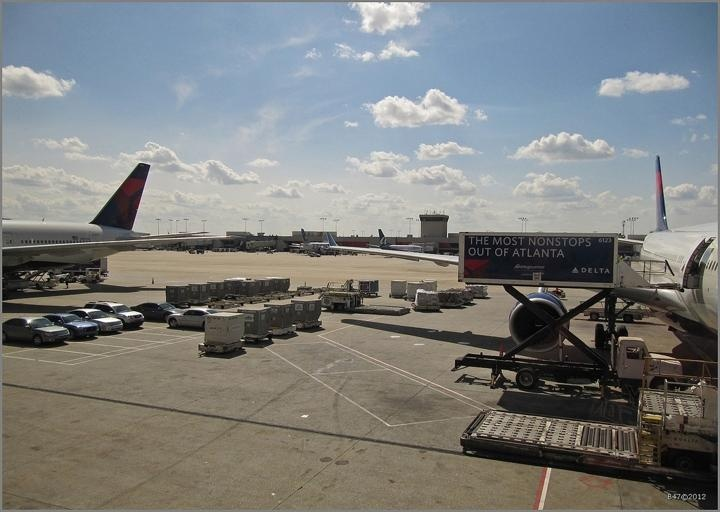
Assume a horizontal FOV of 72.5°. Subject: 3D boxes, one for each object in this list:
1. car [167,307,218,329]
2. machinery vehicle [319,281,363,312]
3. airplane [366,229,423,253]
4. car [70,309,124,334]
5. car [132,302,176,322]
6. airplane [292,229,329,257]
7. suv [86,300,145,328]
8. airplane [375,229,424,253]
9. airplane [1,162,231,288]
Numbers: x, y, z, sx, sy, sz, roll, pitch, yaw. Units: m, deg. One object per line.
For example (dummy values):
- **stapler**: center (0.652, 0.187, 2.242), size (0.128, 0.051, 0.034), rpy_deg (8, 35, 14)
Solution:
- **car**: center (-13.578, 5.030, 39.439), size (3.686, 1.520, 1.544), rpy_deg (3, 6, 19)
- **machinery vehicle**: center (-2.100, 4.146, 49.505), size (4.097, 2.682, 2.863), rpy_deg (2, 0, 10)
- **airplane**: center (11.695, -3.889, 153.911), size (12.904, 5.655, 13.183), rpy_deg (3, 11, 17)
- **car**: center (-20.248, 5.068, 37.707), size (4.281, 1.316, 1.763), rpy_deg (4, 5, 25)
- **car**: center (-17.834, 4.847, 42.317), size (4.202, 1.253, 1.695), rpy_deg (-1, 2, 16)
- **airplane**: center (-18.552, -4.417, 186.358), size (11.940, 6.012, 13.761), rpy_deg (6, 9, 45)
- **suv**: center (-19.540, 4.750, 39.929), size (4.879, 1.884, 2.169), rpy_deg (2, 2, 22)
- **airplane**: center (12.613, -3.749, 150.960), size (12.201, 5.807, 12.826), rpy_deg (2, 13, 11)
- **airplane**: center (-29.788, -2.139, 57.169), size (24.494, 7.992, 24.386), rpy_deg (3, 4, 32)
